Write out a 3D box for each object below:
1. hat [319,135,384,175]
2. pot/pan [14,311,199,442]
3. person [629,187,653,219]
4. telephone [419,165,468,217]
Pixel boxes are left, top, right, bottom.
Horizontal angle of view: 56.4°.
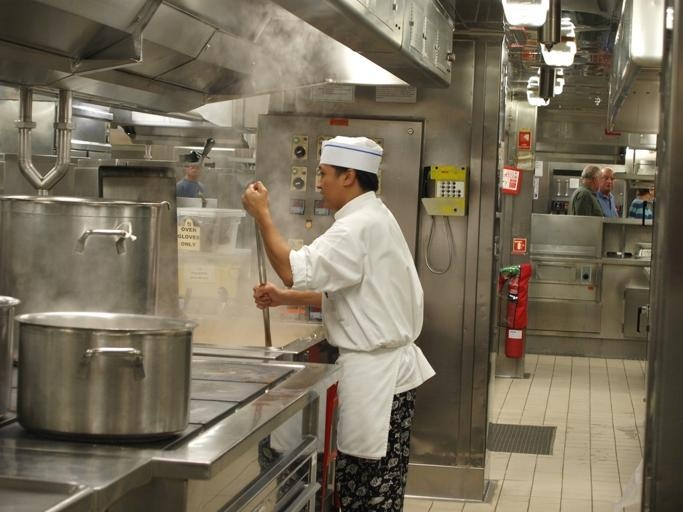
[{"bbox_3d":[0.036,-0.426,2.692,0.186,0.106,0.180,5,5,4],"label":"hat"},{"bbox_3d":[-0.621,0.310,1.684,0.418,0.244,0.279,6,2,20],"label":"pot/pan"},{"bbox_3d":[4.062,-0.706,8.626,0.274,0.469,0.895,5,2,24],"label":"person"},{"bbox_3d":[0.620,-0.393,3.808,0.274,0.300,0.100,1,6,9],"label":"telephone"}]
